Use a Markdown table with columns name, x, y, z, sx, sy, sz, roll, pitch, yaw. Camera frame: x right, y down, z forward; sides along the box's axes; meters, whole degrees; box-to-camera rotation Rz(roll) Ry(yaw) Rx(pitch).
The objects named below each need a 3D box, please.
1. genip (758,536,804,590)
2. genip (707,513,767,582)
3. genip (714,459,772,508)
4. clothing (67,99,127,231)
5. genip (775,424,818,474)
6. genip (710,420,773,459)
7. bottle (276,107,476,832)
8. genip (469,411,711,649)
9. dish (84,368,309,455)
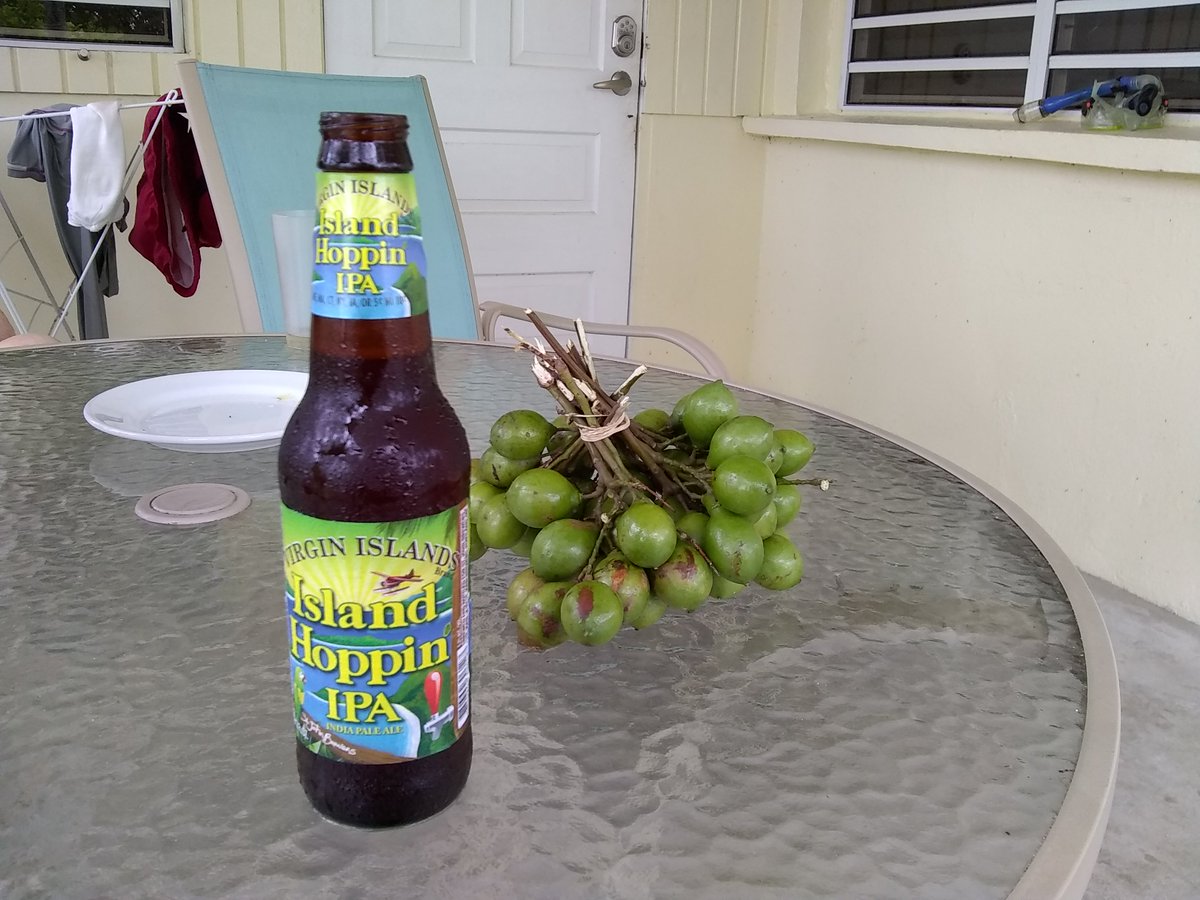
| name | x | y | z | sx | sy | sz | roll | pitch | yaw |
| --- | --- | --- | --- | --- | --- | --- | --- | --- | --- |
| genip | 0.121 | 0.074 | 0.560 | 0.031 | 0.034 | 0.030 | -5 | -8 | 13 |
| genip | 0.078 | 0.059 | 0.541 | 0.032 | 0.041 | 0.027 | -31 | -2 | 27 |
| genip | 0.084 | 0.022 | 0.501 | 0.025 | 0.024 | 0.034 | -41 | 28 | -29 |
| clothing | -1.371 | -0.762 | 2.317 | 0.167 | 0.347 | 0.147 | -8 | 25 | -26 |
| genip | 0.130 | 0.003 | 0.600 | 0.037 | 0.024 | 0.026 | -1 | 12 | -1 |
| genip | 0.097 | 0.000 | 0.563 | 0.035 | 0.020 | 0.024 | -29 | 42 | -3 |
| bottle | -0.098 | 0.020 | 0.373 | 0.081 | 0.314 | 0.092 | -2 | 23 | -13 |
| genip | -0.005 | 0.045 | 0.573 | 0.164 | 0.057 | 0.156 | -22 | 62 | -12 |
| dish | -0.444 | -0.051 | 0.943 | 0.192 | 0.021 | 0.171 | 1 | 21 | -7 |
